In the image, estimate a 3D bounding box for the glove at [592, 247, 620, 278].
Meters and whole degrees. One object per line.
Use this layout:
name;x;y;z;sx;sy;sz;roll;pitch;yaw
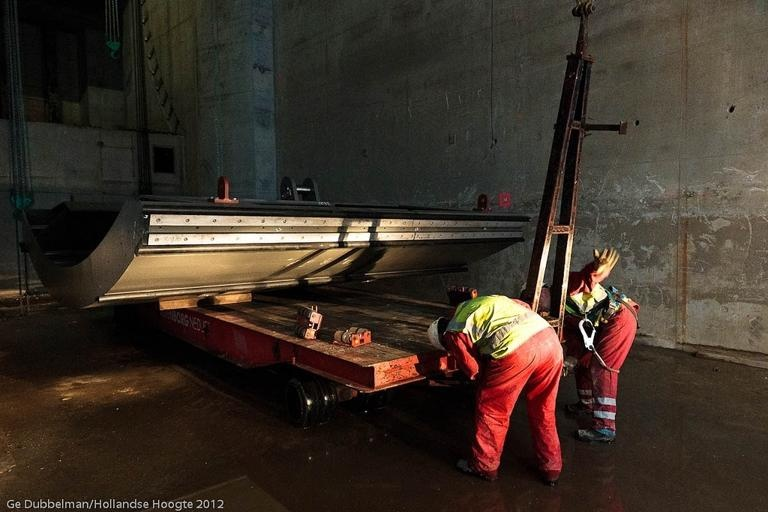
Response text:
glove;2.106;0.065;4.965;0.191;0.298;0.217;3;9;20

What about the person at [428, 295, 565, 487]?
person;0.994;1.142;4.856;1.307;1.509;1.058;4;3;33

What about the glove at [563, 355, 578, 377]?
glove;1.739;1.033;4.917;0.140;0.201;0.070;27;-20;-16

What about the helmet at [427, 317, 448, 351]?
helmet;0.490;0.680;4.824;0.217;0.269;0.278;4;20;4

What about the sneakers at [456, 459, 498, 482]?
sneakers;0.806;1.894;4.599;0.144;0.095;0.329;3;9;-41
